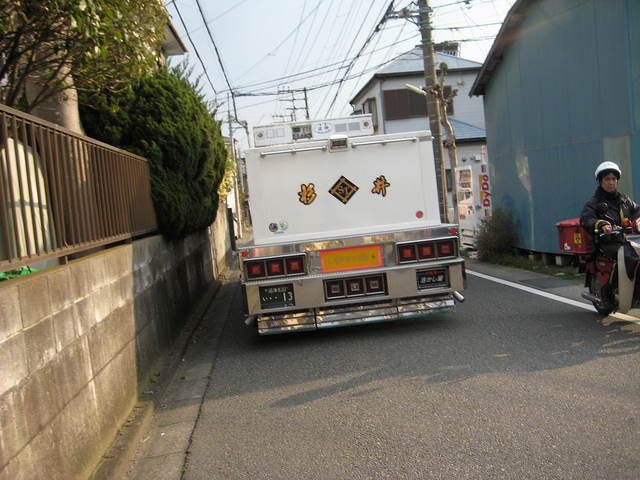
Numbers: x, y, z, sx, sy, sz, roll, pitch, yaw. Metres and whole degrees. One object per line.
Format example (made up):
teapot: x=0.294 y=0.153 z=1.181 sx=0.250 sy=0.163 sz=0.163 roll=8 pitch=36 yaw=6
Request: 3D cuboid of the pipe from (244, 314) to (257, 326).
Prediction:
pipe: x=-1.106 y=1.261 z=7.899 sx=0.171 sy=0.094 sz=0.039 roll=-47 pitch=7 yaw=-12

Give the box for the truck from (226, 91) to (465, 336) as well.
truck: x=0.571 y=-2.270 z=10.700 sx=3.910 sy=4.036 sz=7.088 roll=-4 pitch=34 yaw=8

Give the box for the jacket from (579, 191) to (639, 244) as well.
jacket: x=4.302 y=-0.367 z=7.244 sx=0.653 sy=0.888 sz=0.758 roll=3 pitch=8 yaw=-3

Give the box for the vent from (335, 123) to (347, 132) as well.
vent: x=0.352 y=-1.933 z=8.488 sx=0.132 sy=0.109 sz=0.020 roll=0 pitch=-5 yaw=-5

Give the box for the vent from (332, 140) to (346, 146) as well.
vent: x=0.305 y=-1.582 z=8.085 sx=0.121 sy=0.090 sz=0.031 roll=-3 pitch=1 yaw=-2
